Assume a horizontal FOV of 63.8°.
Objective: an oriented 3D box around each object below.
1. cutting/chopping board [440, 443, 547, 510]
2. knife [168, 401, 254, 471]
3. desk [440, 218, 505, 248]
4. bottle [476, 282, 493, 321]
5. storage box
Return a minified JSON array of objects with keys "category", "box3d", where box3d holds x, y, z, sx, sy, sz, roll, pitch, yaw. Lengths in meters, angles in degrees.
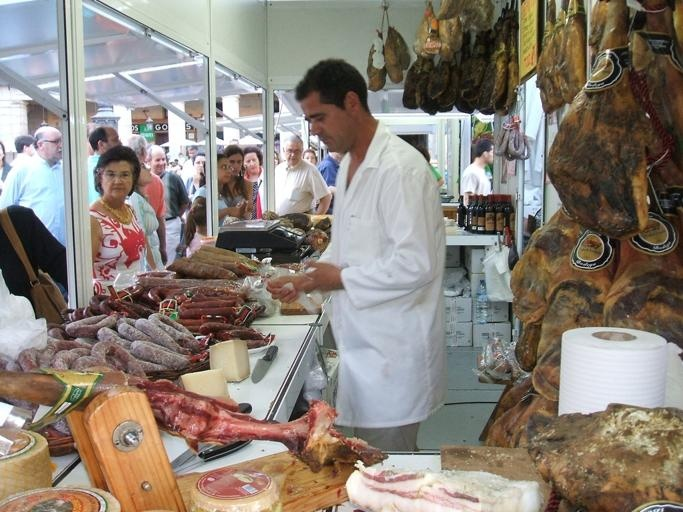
[{"category":"cutting/chopping board","box3d":[0.358,0.478,1.268,0.245,0.045,0.196,-1,3,27]},{"category":"knife","box3d":[-0.306,0.430,1.332,0.081,0.017,0.215,16,19,37]},{"category":"desk","box3d":[1.305,-0.196,5.499,0.484,0.235,0.599,-1,3,11]},{"category":"bottle","box3d":[1.416,0.448,5.475,0.164,0.410,0.091,-1,3,16]},{"category":"storage box","box3d":[1.341,0.429,5.272,0.496,0.929,0.956,-3,4,-20]}]
